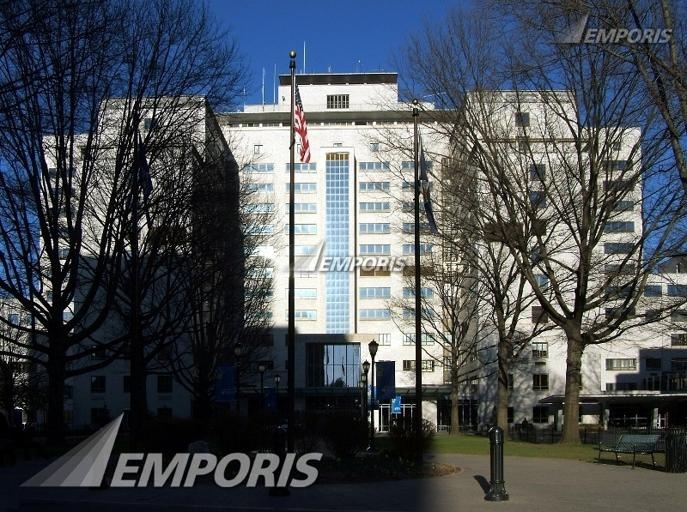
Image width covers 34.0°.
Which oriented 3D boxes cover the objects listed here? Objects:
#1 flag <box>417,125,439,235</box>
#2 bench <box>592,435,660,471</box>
[{"bbox_3d":[3.256,-3.290,47.064,0.444,4.749,0.808,-11,14,-8],"label":"flag"},{"bbox_3d":[11.203,7.557,43.880,0.974,1.107,2.365,-3,-5,-26],"label":"bench"}]
